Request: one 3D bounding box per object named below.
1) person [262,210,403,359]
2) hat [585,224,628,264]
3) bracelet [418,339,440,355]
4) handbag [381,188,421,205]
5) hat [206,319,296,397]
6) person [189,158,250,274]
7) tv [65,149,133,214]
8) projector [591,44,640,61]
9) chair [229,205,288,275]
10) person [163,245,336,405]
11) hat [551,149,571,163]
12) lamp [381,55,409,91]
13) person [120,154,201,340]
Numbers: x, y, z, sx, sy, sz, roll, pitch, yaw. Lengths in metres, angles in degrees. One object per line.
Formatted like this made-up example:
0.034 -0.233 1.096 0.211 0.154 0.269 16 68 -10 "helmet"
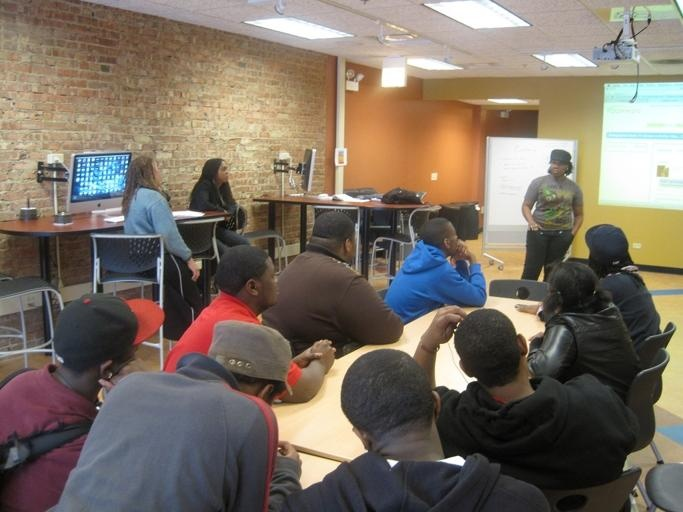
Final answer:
-0.019 0.128 3.345 0.708 1.126 0.687 25 35 33 "person"
1.600 -0.082 3.039 0.202 0.258 0.140 -5 -31 9 "hat"
0.337 0.355 1.947 0.079 0.020 0.077 6 9 14 "bracelet"
0.803 -0.757 6.583 0.402 0.125 0.289 0 0 -19 "handbag"
-0.339 0.325 1.554 0.253 0.179 0.337 -9 -17 32 "hat"
-1.438 -0.363 5.911 0.873 1.454 0.634 7 8 7 "person"
-2.154 -0.655 4.527 0.818 0.555 0.123 1 0 28 "tv"
2.404 -1.763 4.402 0.232 0.075 0.219 3 9 22 "projector"
-1.077 -0.191 6.495 0.572 0.932 0.522 -8 6 -15 "chair"
-0.383 0.340 2.181 0.841 0.714 0.589 1 4 -30 "person"
2.481 -1.120 5.637 0.224 0.148 0.216 3 10 7 "hat"
0.741 -2.595 7.036 0.322 0.391 0.226 1 10 -2 "lamp"
-1.560 -0.035 4.376 0.715 1.609 0.628 -2 2 -27 "person"
